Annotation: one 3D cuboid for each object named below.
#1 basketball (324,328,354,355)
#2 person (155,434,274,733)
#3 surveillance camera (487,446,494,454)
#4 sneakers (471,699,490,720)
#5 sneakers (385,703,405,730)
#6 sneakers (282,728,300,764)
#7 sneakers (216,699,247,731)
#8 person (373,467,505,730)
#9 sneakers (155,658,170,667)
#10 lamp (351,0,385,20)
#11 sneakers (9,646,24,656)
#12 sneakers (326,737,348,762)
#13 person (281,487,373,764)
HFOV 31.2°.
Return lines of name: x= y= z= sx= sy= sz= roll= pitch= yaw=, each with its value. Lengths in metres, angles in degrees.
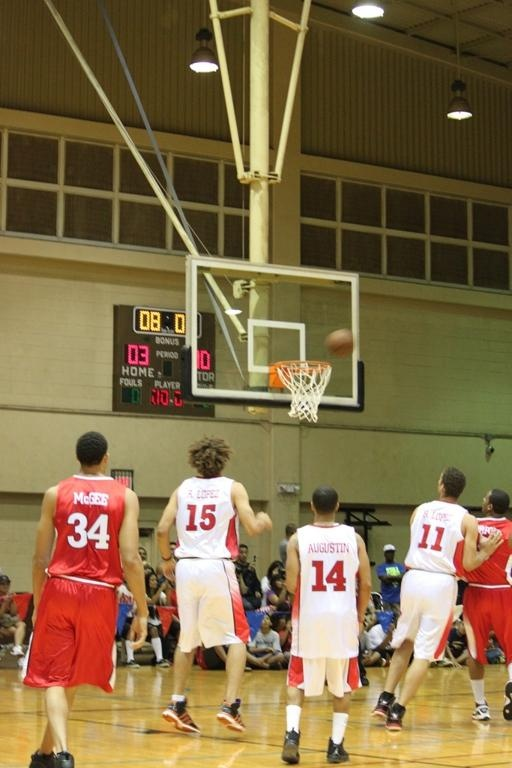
basketball: x=0.856 y=-0.415 z=9.244 sx=0.231 sy=0.176 sz=0.242 roll=-10 pitch=-22 yaw=31
person: x=-0.249 y=1.274 z=5.198 sx=0.661 sy=1.489 sz=0.430 roll=0 pitch=-3 yaw=7
surveillance camera: x=4.737 y=1.318 z=18.427 sx=0.113 sy=0.171 sz=0.054 roll=1 pitch=-8 yaw=-4
sneakers: x=1.595 y=2.284 z=6.465 sx=0.084 sy=0.116 sz=0.244 roll=0 pitch=-5 yaw=3
sneakers: x=0.853 y=2.020 z=5.599 sx=0.099 sy=0.163 sz=0.176 roll=0 pitch=-4 yaw=5
sneakers: x=0.166 y=1.721 z=4.330 sx=0.079 sy=0.168 sz=0.101 roll=0 pitch=-3 yaw=1
sneakers: x=-0.130 y=1.841 z=5.081 sx=0.105 sy=0.181 sz=0.301 roll=-1 pitch=-4 yaw=12
person: x=1.124 y=1.311 z=5.733 sx=0.782 sy=1.568 sz=0.486 roll=0 pitch=-3 yaw=-4
sneakers: x=-1.153 y=3.459 z=11.405 sx=0.085 sy=0.101 sz=0.236 roll=3 pitch=-14 yaw=-21
lamp: x=1.274 y=-4.200 z=10.303 sx=0.273 sy=0.142 sz=0.457 roll=-2 pitch=-4 yaw=26
sneakers: x=-2.990 y=3.343 z=11.456 sx=0.107 sy=0.163 sz=0.334 roll=7 pitch=-12 yaw=-11
sneakers: x=0.389 y=1.774 z=4.438 sx=0.051 sy=0.117 sz=0.161 roll=-1 pitch=-11 yaw=30
person: x=0.354 y=1.174 z=4.559 sx=0.483 sy=1.307 sz=0.458 roll=0 pitch=-3 yaw=-5
